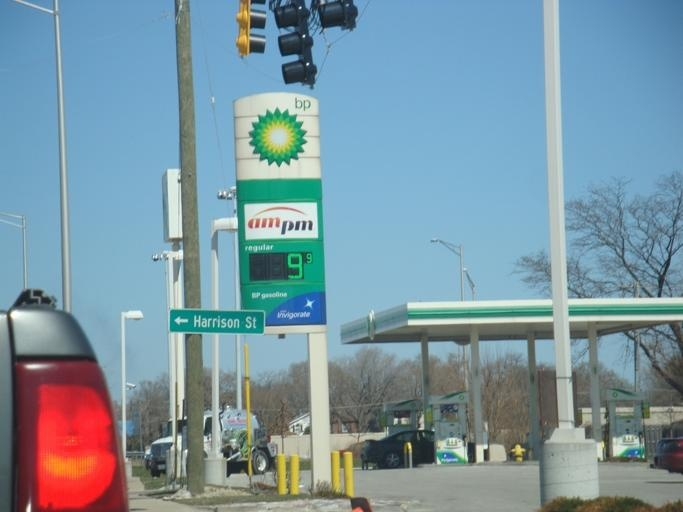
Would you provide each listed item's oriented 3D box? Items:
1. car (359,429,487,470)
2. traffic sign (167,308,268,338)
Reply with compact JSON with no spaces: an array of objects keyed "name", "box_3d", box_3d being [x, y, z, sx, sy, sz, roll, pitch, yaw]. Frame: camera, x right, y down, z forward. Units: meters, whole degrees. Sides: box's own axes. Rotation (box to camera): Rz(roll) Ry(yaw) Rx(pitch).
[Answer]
[{"name":"car","box_3d":[2.214,7.625,55.658,2.712,1.185,1.385,-3,-1,-16]},{"name":"traffic sign","box_3d":[-3.249,1.677,37.020,2.454,0.835,0.416,-3,-7,-14]}]
